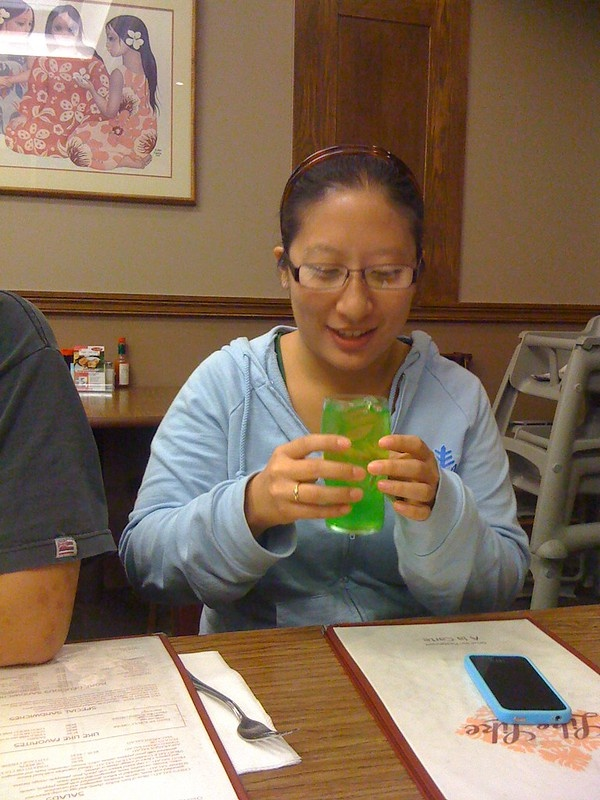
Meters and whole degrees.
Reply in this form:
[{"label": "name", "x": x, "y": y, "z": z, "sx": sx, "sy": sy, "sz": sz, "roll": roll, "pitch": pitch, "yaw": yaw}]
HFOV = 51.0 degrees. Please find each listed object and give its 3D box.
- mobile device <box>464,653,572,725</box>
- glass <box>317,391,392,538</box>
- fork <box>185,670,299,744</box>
[{"label": "mobile device", "x": 0.210, "y": 0.282, "z": 0.618, "sx": 0.076, "sy": 0.012, "sz": 0.128, "roll": 1, "pitch": 1, "yaw": 2}, {"label": "glass", "x": 0.075, "y": 0.093, "z": 0.867, "sx": 0.097, "sy": 0.202, "sz": 0.139, "roll": 4, "pitch": 24, "yaw": 2}, {"label": "fork", "x": -0.060, "y": 0.276, "z": 0.571, "sx": 0.030, "sy": 0.025, "sz": 0.175, "roll": -6, "pitch": 9, "yaw": -32}]
